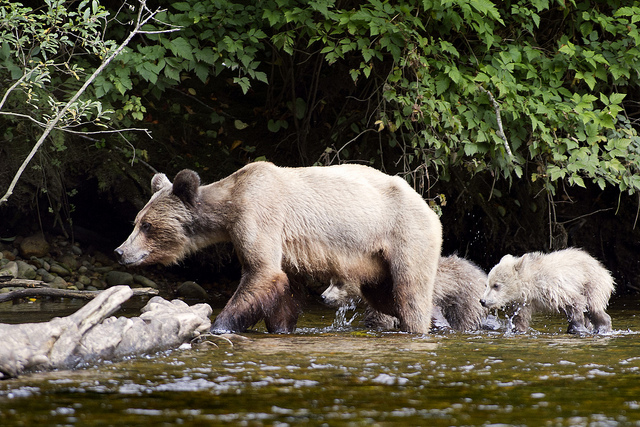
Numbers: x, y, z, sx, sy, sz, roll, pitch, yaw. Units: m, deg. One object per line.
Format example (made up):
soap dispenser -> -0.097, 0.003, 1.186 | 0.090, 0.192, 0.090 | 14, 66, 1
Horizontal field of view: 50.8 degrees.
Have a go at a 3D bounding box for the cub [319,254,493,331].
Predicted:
cub -> 0.846, 0.909, 8.919 | 2.439, 1.505, 0.728 | 2, 33, 35

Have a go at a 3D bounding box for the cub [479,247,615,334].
cub -> 2.833, 0.981, 8.298 | 1.459, 1.131, 0.778 | 0, -3, 1

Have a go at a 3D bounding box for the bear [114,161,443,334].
bear -> -0.269, 0.354, 7.594 | 3.238, 1.855, 1.039 | -1, 6, -11

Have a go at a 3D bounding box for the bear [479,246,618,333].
bear -> 2.819, 0.978, 8.274 | 1.606, 1.134, 0.628 | 0, 2, -5
